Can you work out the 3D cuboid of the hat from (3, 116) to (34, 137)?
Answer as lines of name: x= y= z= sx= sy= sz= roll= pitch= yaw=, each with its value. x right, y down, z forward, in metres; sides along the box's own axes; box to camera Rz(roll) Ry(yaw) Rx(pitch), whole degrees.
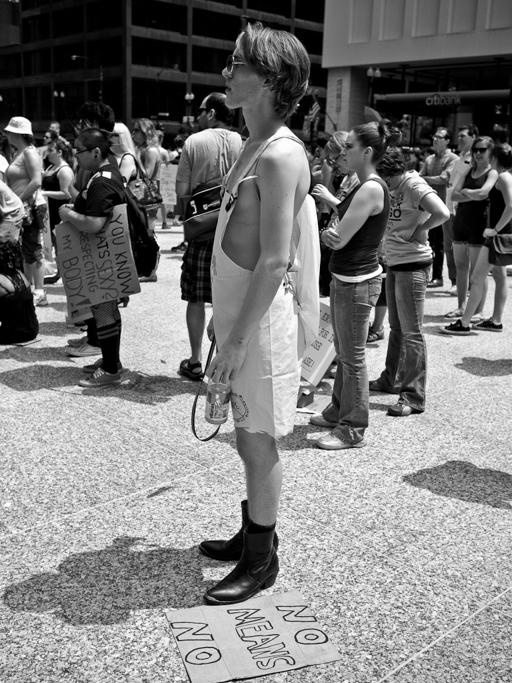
hat: x=-2.686 y=-2.395 z=7.096 sx=0.365 sy=0.211 sz=0.426 roll=4 pitch=13 yaw=-26

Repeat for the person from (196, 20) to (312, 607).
person: x=0.013 y=-0.023 z=2.002 sx=0.365 sy=1.834 sz=0.482 roll=4 pitch=11 yaw=4

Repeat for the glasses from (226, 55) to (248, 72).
glasses: x=-0.059 y=-0.798 z=1.817 sx=0.065 sy=0.022 sz=0.050 roll=3 pitch=21 yaw=-14

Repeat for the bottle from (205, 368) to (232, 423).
bottle: x=-0.115 y=0.185 z=1.905 sx=0.076 sy=0.189 sz=0.157 roll=3 pitch=11 yaw=-3

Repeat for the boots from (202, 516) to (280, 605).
boots: x=-0.043 y=0.740 z=2.108 sx=0.312 sy=0.225 sz=0.116 roll=-7 pitch=14 yaw=-44
